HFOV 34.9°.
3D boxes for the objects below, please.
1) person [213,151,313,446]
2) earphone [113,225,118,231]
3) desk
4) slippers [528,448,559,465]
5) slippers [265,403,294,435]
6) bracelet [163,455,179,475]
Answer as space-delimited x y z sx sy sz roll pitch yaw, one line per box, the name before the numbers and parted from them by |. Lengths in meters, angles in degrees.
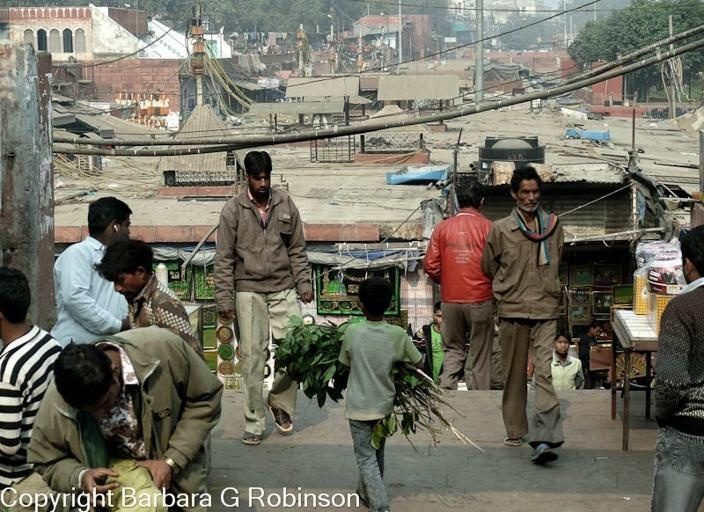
person | -0.681 0.314 8.636 0.750 2.231 0.419 -1 2 -8
earphone | -1.674 -0.206 7.906 0.015 0.051 0.014 -5 10 20
desk | 2.200 0.819 8.605 0.347 0.694 0.804 1 13 6
slippers | 1.415 1.459 8.201 0.205 0.104 0.092 -8 -6 20
slippers | -0.547 1.254 8.816 0.108 0.131 0.325 -17 55 -30
bracelet | -1.078 1.239 6.687 0.054 0.106 0.093 -36 -1 -13
